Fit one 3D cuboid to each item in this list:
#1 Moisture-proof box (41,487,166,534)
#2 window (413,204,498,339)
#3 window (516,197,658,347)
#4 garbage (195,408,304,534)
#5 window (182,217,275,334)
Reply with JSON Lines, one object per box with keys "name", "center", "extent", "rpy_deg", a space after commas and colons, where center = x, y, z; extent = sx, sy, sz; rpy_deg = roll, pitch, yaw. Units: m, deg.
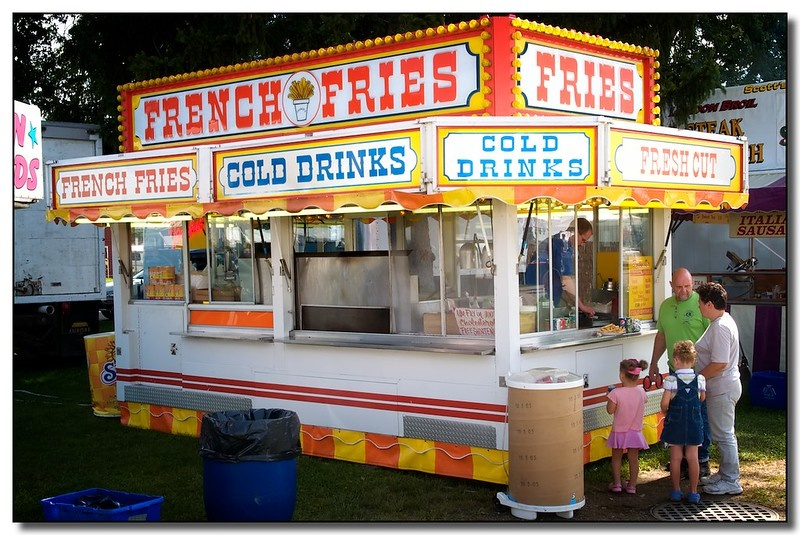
{"name": "Moisture-proof box", "center": [-2.913, 2.381, 6.833], "extent": [1.121, 0.240, 0.565], "rpy_deg": [1, 5, 24]}
{"name": "window", "center": [0.635, 0.068, 8.414], "extent": [1.055, 1.512, 0.226], "rpy_deg": [2, 5, 40]}
{"name": "window", "center": [2.276, 0.074, 8.754], "extent": [1.918, 1.570, 0.625], "rpy_deg": [2, -2, -37]}
{"name": "garbage", "center": [-1.449, 2.070, 7.194], "extent": [1.059, 1.004, 1.054], "rpy_deg": [-1, -7, -2]}
{"name": "window", "center": [-2.437, 0.142, 10.085], "extent": [1.671, 1.598, 0.922], "rpy_deg": [1, 4, 39]}
